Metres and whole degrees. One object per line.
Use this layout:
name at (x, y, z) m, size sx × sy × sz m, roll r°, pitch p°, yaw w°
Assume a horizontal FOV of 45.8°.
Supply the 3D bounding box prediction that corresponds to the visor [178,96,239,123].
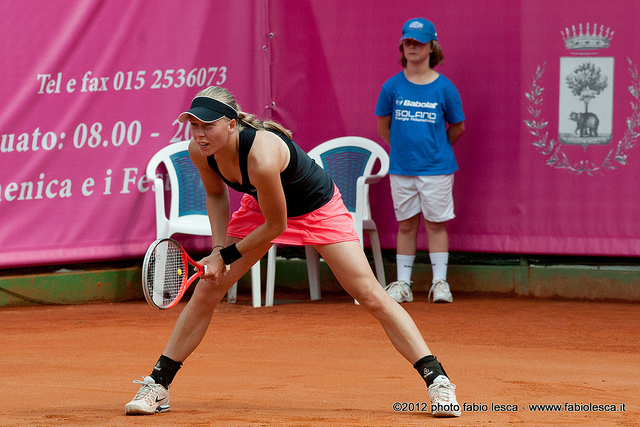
visor at (-0.629, -0.617, 4.431) m, size 0.268 × 0.152 × 0.149 m, roll -1°, pitch 9°, yaw -1°

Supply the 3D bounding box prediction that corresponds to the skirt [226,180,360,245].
skirt at (-0.172, 0.014, 4.971) m, size 0.884 × 0.509 × 0.518 m, roll 5°, pitch -10°, yaw 14°

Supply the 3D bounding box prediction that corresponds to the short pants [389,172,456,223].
short pants at (1.035, -0.133, 7.433) m, size 0.444 × 0.561 × 0.600 m, roll -1°, pitch 0°, yaw 7°

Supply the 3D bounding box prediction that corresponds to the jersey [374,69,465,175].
jersey at (0.970, -0.903, 7.377) m, size 0.814 × 0.979 × 0.541 m, roll 7°, pitch 21°, yaw 18°

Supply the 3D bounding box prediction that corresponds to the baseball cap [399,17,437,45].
baseball cap at (0.935, -1.742, 7.163) m, size 0.337 × 0.266 × 0.476 m, roll 10°, pitch 14°, yaw 28°

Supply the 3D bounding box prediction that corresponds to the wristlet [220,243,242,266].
wristlet at (-0.547, 0.247, 4.600) m, size 0.117 × 0.125 × 0.052 m, roll -20°, pitch 10°, yaw 16°

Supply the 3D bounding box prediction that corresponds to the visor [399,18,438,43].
visor at (0.936, -1.755, 7.160) m, size 0.341 × 0.266 × 0.493 m, roll 9°, pitch 15°, yaw 20°

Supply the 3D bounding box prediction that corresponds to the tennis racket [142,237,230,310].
tennis racket at (-0.772, 0.356, 4.634) m, size 0.807 × 0.446 × 0.109 m, roll -9°, pitch -24°, yaw 35°

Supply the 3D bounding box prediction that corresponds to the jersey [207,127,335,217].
jersey at (-0.287, -0.251, 4.672) m, size 0.763 × 0.574 × 0.413 m, roll -1°, pitch 9°, yaw -1°
